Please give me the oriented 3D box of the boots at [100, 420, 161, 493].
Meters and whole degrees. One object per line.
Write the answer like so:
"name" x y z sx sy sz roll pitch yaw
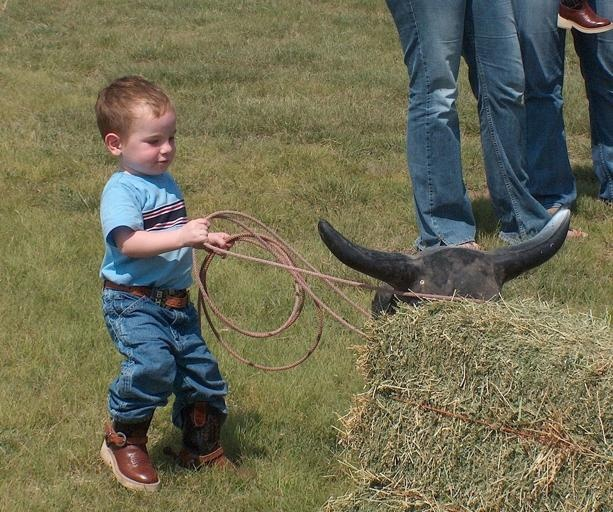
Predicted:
"boots" -1.042 1.118 6.134 0.204 0.361 0.537 -4 27 -36
